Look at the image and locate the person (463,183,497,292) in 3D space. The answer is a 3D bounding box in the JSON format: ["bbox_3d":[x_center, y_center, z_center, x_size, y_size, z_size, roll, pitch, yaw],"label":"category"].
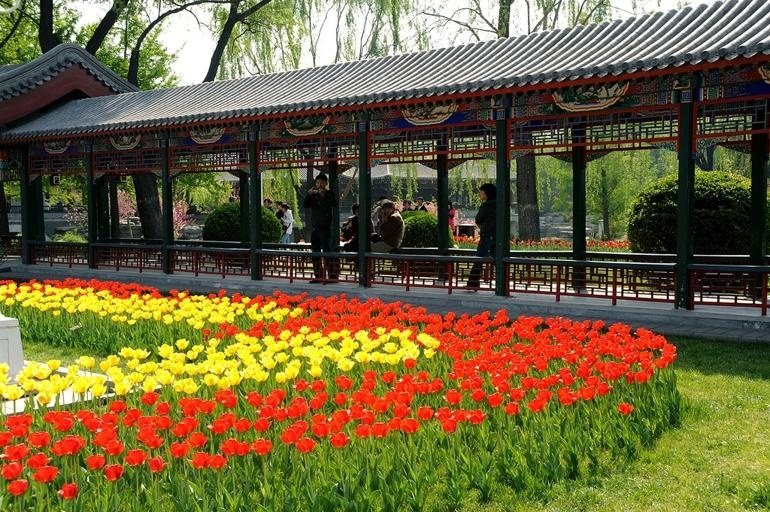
[{"bbox_3d":[1.605,-0.323,15.197,0.440,1.770,0.941,1,3,5],"label":"person"}]

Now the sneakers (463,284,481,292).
[{"bbox_3d":[1.433,0.538,14.956,0.252,0.102,0.353,1,4,4],"label":"sneakers"}]

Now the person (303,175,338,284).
[{"bbox_3d":[-1.183,-0.526,16.683,0.607,1.956,1.322,0,3,-5],"label":"person"}]
